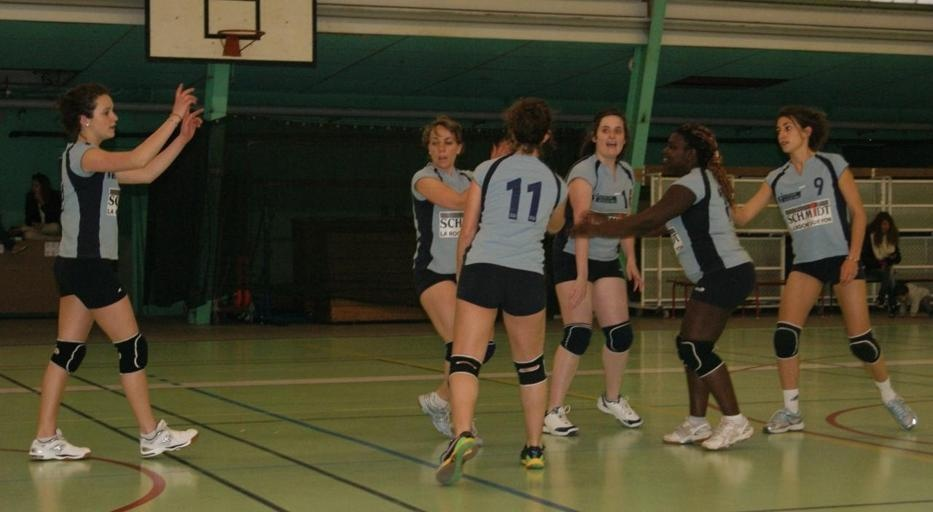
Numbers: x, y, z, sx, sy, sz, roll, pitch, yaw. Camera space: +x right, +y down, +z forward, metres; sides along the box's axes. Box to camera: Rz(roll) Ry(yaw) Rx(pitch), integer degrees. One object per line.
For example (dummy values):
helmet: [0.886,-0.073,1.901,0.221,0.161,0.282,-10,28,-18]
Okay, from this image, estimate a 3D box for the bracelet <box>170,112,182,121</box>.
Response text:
bracelet: [-2.796,-1.342,8.222,0.095,0.055,0.083,-1,5,-6]

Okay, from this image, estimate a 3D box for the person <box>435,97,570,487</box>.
person: [0.344,0.311,8.143,1.504,3.595,0.739,-7,13,-32]

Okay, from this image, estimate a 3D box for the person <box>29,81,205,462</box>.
person: [-3.620,0.148,8.549,1.670,3.684,1.120,-3,12,-16]

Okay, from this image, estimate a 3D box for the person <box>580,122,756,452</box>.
person: [2.280,0.293,8.924,1.567,3.288,0.938,3,12,16]
